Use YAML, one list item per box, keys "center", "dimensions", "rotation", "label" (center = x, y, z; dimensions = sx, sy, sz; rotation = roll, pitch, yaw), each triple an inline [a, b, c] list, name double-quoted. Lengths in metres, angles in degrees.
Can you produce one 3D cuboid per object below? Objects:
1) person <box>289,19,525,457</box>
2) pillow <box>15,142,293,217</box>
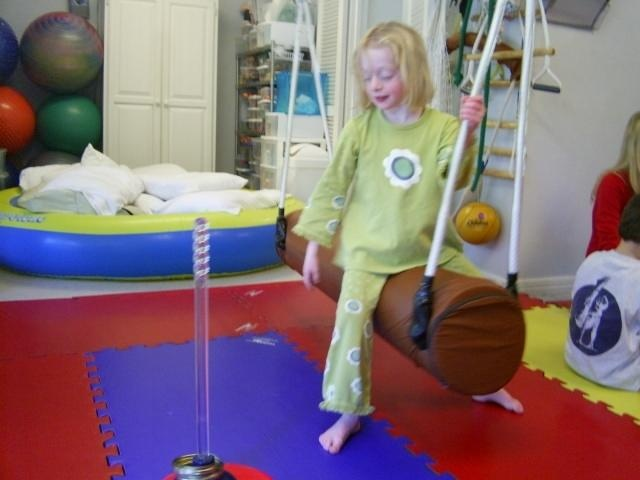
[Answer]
- center: [0.271, -0.019, 1.575]
  dimensions: [0.669, 1.300, 0.630]
  rotation: [-1, 11, 13]
  label: "person"
- center: [-1.227, -0.396, 3.426]
  dimensions: [1.805, 0.339, 0.921]
  rotation: [1, 15, -6]
  label: "pillow"
